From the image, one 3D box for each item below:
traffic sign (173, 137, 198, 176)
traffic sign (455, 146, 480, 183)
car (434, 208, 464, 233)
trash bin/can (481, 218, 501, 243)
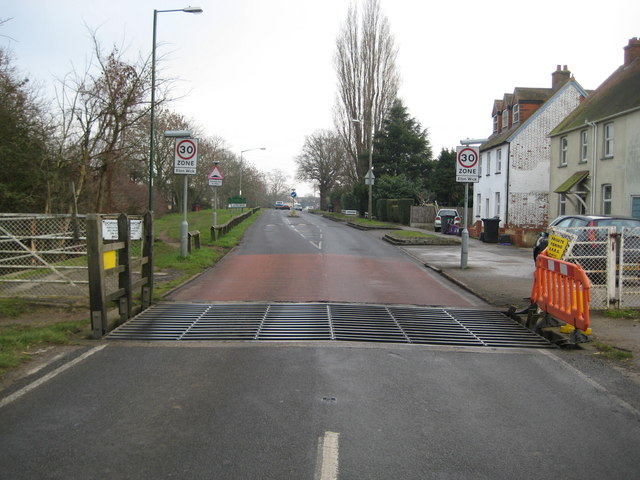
[{"bbox_3d":[-4.451,-2.781,18.277,0.781,1.514,0.144,1,-30,-13],"label":"traffic sign"},{"bbox_3d":[4.867,-2.528,18.167,0.754,1.467,0.072,2,-27,14],"label":"traffic sign"},{"bbox_3d":[9.021,-1.364,38.695,1.192,1.235,2.354,1,7,6],"label":"car"},{"bbox_3d":[9.699,-0.542,31.461,1.010,1.856,1.159,0,0,0],"label":"trash bin/can"}]
